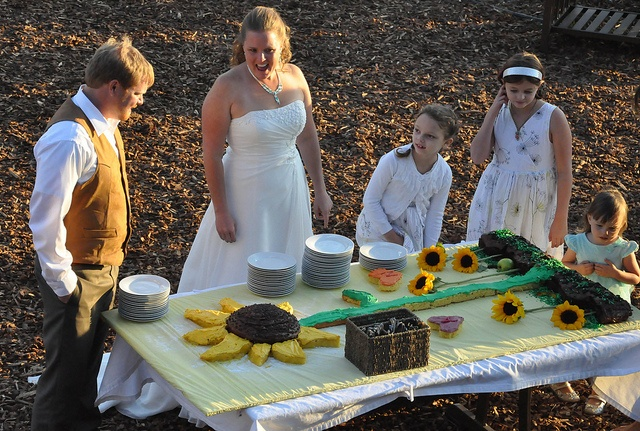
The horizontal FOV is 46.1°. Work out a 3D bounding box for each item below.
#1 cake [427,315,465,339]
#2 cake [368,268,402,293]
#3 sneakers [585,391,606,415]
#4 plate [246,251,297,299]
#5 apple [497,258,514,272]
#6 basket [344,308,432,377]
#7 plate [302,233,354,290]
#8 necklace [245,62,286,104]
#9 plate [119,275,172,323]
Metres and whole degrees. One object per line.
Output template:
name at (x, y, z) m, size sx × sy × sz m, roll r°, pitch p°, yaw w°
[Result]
cake at (0.918, 0.780, 5.424) m, size 0.185 × 0.059 × 0.180 m, roll -18°, pitch 26°, yaw -38°
cake at (0.509, 0.496, 5.828) m, size 0.191 × 0.051 × 0.178 m, roll 6°, pitch 22°, yaw 19°
sneakers at (2.372, 1.612, 6.450) m, size 0.132 × 0.086 × 0.338 m, roll 1°, pitch 18°, yaw 21°
plate at (-0.382, 0.437, 5.690) m, size 0.365 × 0.187 × 0.347 m, roll -8°, pitch 18°, yaw -36°
apple at (1.506, 0.398, 6.118) m, size 0.122 × 0.085 × 0.087 m, roll -16°, pitch 13°, yaw -27°
basket at (0.465, 0.859, 5.238) m, size 0.506 × 0.258 × 0.360 m, roll -7°, pitch 21°, yaw -23°
plate at (0.092, 0.344, 5.826) m, size 0.449 × 0.293 × 0.413 m, roll 14°, pitch 27°, yaw 25°
necklace at (-0.441, -1.084, 6.263) m, size 0.209 × 0.335 × 0.028 m, roll -30°, pitch 3°, yaw -32°
plate at (-1.275, 0.571, 5.388) m, size 0.372 × 0.194 × 0.356 m, roll -11°, pitch 23°, yaw -37°
